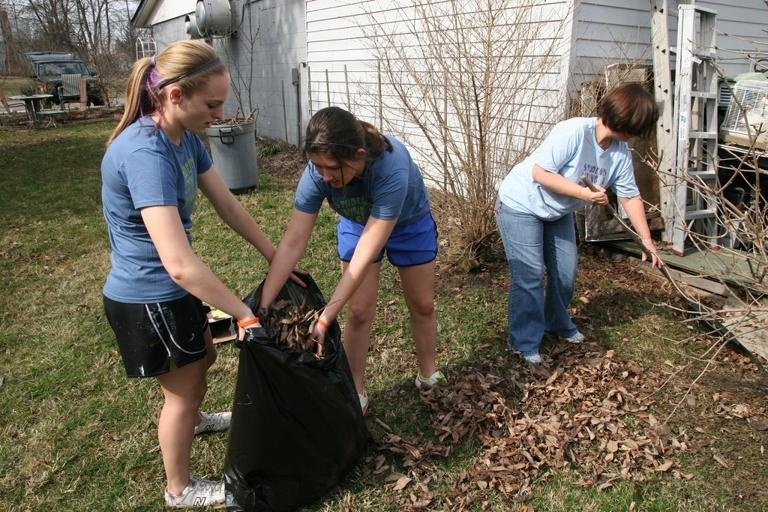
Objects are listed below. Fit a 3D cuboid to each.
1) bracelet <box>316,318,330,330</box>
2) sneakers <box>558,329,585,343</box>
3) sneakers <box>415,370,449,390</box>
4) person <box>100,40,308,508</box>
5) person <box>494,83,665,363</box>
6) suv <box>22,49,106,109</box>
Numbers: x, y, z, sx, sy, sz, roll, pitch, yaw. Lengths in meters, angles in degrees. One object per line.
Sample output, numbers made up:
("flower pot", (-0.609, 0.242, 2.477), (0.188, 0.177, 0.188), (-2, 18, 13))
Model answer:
("bracelet", (-0.438, 0.489, 4.012), (0.074, 0.084, 0.021), (0, 53, 25))
("sneakers", (1.849, 0.773, 5.425), (0.197, 0.092, 0.113), (4, 22, 34))
("sneakers", (0.410, 1.091, 4.920), (0.320, 0.145, 0.123), (-1, 45, -4))
("person", (-1.378, 0.235, 3.830), (1.007, 3.239, 0.783), (-12, 20, -29))
("person", (1.667, -0.260, 4.999), (1.286, 2.458, 0.653), (1, 18, 10))
("suv", (-12.318, -6.857, 21.534), (2.087, 2.272, 3.535), (-15, 26, -35))
